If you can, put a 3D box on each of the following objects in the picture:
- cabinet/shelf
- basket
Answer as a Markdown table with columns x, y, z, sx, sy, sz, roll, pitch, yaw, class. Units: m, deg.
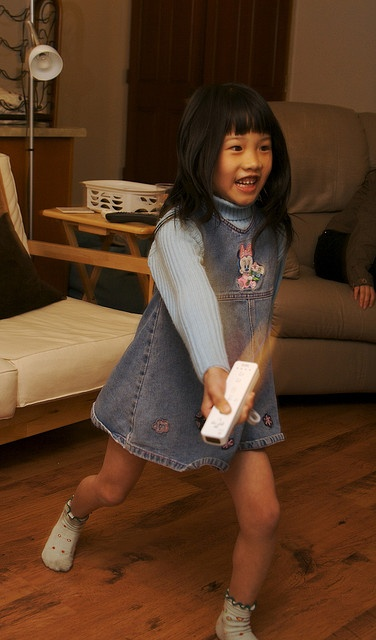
| x | y | z | sx | sy | sz | roll | pitch | yaw | class |
| --- | --- | --- | --- | --- | --- | --- | --- | --- | --- |
| -0.910 | -0.875 | 3.111 | 0.621 | 0.946 | 0.502 | -3 | 12 | -27 | cabinet/shelf |
| -0.258 | -0.566 | 2.061 | 0.264 | 0.122 | 0.361 | -9 | 21 | -40 | basket |
